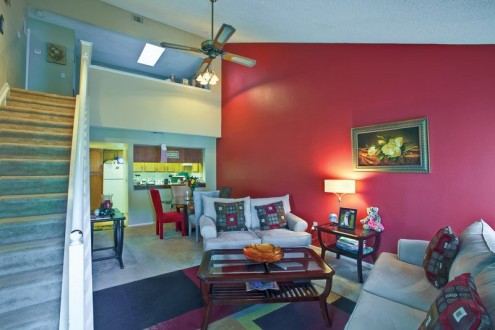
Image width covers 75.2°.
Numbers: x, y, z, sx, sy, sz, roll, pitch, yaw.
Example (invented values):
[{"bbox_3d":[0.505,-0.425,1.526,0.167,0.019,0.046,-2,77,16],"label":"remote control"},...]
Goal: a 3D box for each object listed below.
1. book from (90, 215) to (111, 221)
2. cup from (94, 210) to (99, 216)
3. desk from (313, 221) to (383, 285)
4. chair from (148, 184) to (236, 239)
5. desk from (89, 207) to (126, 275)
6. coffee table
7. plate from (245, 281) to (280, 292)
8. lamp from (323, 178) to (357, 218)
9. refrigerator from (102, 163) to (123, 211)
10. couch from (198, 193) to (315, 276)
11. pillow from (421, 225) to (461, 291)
[{"bbox_3d":[-2.557,0.909,5.624,0.312,0.051,0.275,-2,1,-25],"label":"book"},{"bbox_3d":[-2.696,0.850,5.766,0.081,0.090,0.107,5,-5,-44],"label":"cup"},{"bbox_3d":[1.820,1.509,5.789,0.728,0.765,1.019,-4,5,-38],"label":"desk"},{"bbox_3d":[-1.146,1.058,7.366,1.913,1.206,1.017,-3,5,-27],"label":"chair"},{"bbox_3d":[-2.618,1.356,5.889,0.631,0.853,0.812,0,1,-29],"label":"desk"},{"bbox_3d":[0.254,2.120,5.013,1.994,0.850,0.970,0,18,-4],"label":"coffee table"},{"bbox_3d":[0.208,1.741,4.649,0.352,0.096,0.250,0,-5,-4],"label":"plate"},{"bbox_3d":[1.610,0.642,5.593,0.544,0.183,1.014,-6,33,22],"label":"lamp"},{"bbox_3d":[-4.387,0.594,10.261,0.874,0.835,1.948,-10,21,-18],"label":"refrigerator"},{"bbox_3d":[0.087,1.215,6.122,2.054,1.004,1.078,0,8,-16],"label":"couch"},{"bbox_3d":[2.540,1.231,4.188,0.261,0.542,0.553,13,42,3],"label":"pillow"}]
